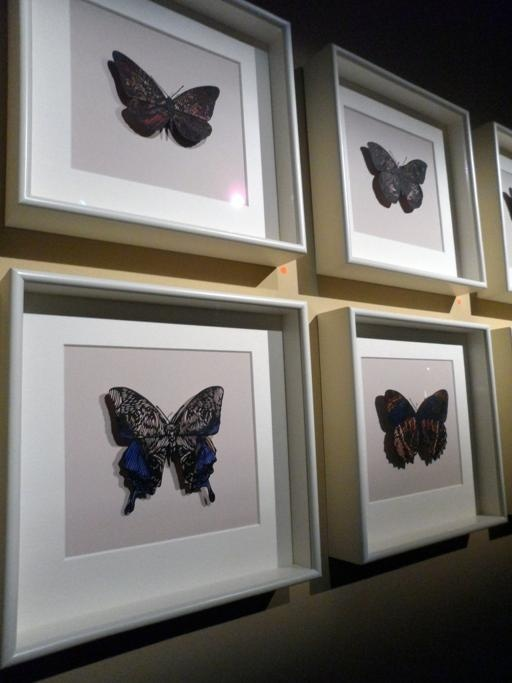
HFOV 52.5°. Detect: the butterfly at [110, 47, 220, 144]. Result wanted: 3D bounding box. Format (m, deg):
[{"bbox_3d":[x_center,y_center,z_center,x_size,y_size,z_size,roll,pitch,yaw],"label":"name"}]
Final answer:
[{"bbox_3d":[-0.113,-0.307,0.666,0.155,0.110,0.007,-4,-3,-37],"label":"butterfly"}]
